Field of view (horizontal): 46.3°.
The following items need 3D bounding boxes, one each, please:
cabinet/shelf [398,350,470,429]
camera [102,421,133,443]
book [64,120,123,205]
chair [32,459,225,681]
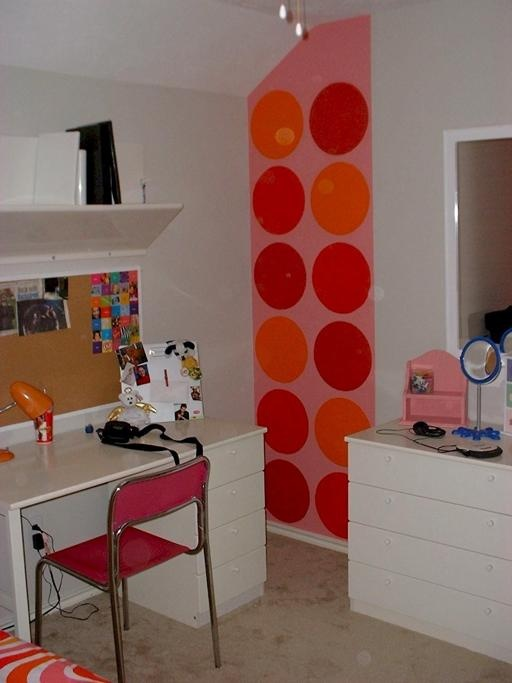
[{"bbox_3d":[0.669,0.171,2.213,0.232,0.264,0.139,1,6,20],"label":"cabinet/shelf"},{"bbox_3d":[-0.464,0.301,2.011,0.105,0.064,0.087,-1,2,-13],"label":"camera"},{"bbox_3d":[-0.519,-0.565,1.925,0.142,0.275,0.140,-1,2,-5],"label":"book"},{"bbox_3d":[-0.331,0.656,1.788,0.468,0.679,0.558,1,3,37],"label":"chair"}]
